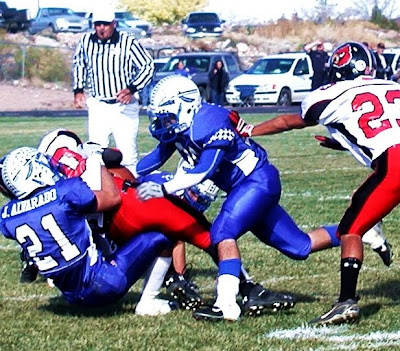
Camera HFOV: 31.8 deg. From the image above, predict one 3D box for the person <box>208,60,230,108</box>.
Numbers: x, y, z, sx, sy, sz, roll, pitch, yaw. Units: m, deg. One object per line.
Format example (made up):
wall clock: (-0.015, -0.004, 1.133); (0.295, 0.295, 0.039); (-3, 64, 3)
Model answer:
person: (0.463, -2.102, 17.024); (0.420, 1.439, 0.388); (2, 31, 3)

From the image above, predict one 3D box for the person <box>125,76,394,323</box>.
person: (0.312, 0.160, 4.668); (1.492, 1.623, 0.579); (-5, -9, -15)

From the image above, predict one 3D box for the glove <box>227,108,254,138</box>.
glove: (0.268, -0.356, 4.577); (0.072, 0.184, 0.138); (-39, -9, -3)

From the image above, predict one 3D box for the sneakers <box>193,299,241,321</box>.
sneakers: (0.103, 0.840, 4.383); (0.290, 0.142, 0.123); (3, 0, -6)

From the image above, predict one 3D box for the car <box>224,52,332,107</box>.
car: (2.095, -2.495, 18.069); (1.217, 1.054, 2.032); (6, 11, 43)

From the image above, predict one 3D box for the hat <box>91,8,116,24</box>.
hat: (-0.934, -1.543, 6.793); (0.214, 0.144, 0.208); (-3, 12, -10)

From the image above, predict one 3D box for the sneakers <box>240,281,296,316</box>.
sneakers: (0.391, 0.773, 4.513); (0.395, 0.228, 0.151); (-4, -25, -12)

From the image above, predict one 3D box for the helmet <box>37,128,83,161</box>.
helmet: (-0.991, -0.241, 5.012); (0.225, 0.210, 0.264); (-17, -17, 14)

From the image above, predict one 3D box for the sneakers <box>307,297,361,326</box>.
sneakers: (0.836, 0.822, 4.246); (0.204, 0.099, 0.158); (-14, 5, -9)

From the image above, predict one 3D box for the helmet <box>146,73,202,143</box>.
helmet: (-0.162, -0.418, 4.512); (0.348, 0.428, 0.241); (-1, 12, 0)

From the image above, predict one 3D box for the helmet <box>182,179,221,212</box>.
helmet: (0.007, 0.147, 5.019); (0.249, 0.208, 0.254); (-16, -14, 39)

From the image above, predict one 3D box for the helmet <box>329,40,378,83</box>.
helmet: (0.964, -0.727, 4.498); (0.289, 0.263, 0.224); (10, 12, 26)

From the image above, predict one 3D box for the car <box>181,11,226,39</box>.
car: (0.130, -6.464, 30.199); (1.664, 1.097, 0.960); (3, 13, 17)
